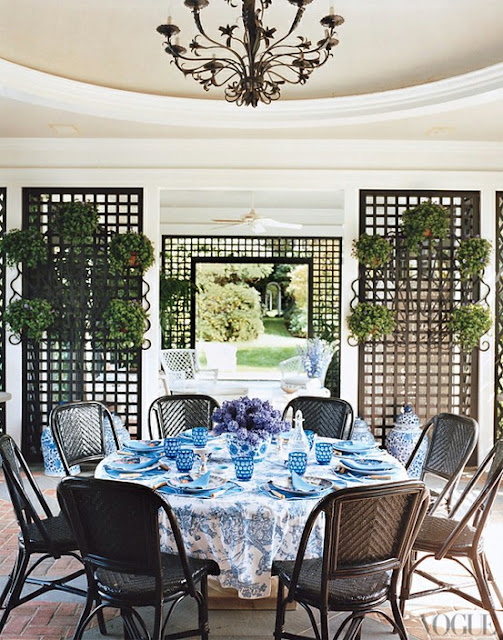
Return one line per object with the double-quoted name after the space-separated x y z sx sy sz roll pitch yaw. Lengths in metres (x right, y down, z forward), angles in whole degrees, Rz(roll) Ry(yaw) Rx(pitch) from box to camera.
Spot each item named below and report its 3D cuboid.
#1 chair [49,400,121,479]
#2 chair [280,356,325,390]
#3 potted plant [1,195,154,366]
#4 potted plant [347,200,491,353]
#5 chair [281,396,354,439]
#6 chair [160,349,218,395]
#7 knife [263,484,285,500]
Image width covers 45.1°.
-0.952 0.759 3.352 0.377 0.498 0.343 -7 -22 -28 "chair"
0.668 0.741 8.188 0.531 0.637 0.499 -1 -18 2 "chair"
-1.519 -0.334 5.602 1.574 1.502 1.368 1 -7 -9 "potted plant"
1.469 -0.359 5.279 1.229 1.301 0.673 0 8 8 "potted plant"
0.410 0.552 3.660 0.319 0.398 0.284 0 -10 19 "chair"
-0.761 0.756 7.545 0.569 0.776 0.578 -1 -1 -36 "chair"
0.096 0.630 2.248 0.022 0.020 0.143 -4 6 -14 "knife"
